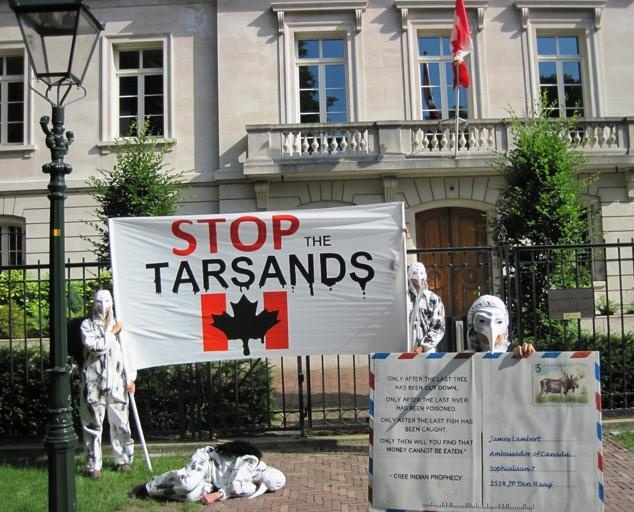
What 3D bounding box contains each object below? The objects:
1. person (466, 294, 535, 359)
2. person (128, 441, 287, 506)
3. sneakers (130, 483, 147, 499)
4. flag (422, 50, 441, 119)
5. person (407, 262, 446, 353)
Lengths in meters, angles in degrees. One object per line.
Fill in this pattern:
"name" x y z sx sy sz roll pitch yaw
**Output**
"person" 2.551 1.008 17.573 1.324 0.966 0.720 1 -14 -1
"person" -1.645 3.467 18.971 2.269 0.917 0.422 -1 -3 -7
"sneakers" -2.853 3.750 18.917 0.301 0.218 0.154 -3 -4 26
"flag" 2.765 -4.038 28.883 0.470 1.391 0.273 -2 -3 6
"person" 1.807 0.840 19.769 0.597 1.472 0.360 -2 -3 6
